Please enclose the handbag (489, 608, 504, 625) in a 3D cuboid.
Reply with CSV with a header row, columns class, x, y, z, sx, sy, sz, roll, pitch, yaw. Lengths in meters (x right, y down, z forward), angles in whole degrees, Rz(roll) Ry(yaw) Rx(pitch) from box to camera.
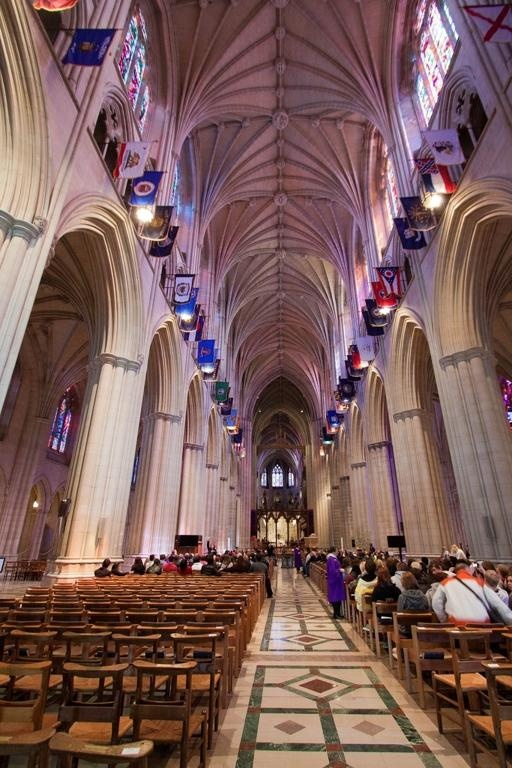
class,x,y,z,sx,sy,sz,roll,pitch,yaw
handbag,2.132,2.130,3.913,0.065,0.111,0.189,-3,-24,7
